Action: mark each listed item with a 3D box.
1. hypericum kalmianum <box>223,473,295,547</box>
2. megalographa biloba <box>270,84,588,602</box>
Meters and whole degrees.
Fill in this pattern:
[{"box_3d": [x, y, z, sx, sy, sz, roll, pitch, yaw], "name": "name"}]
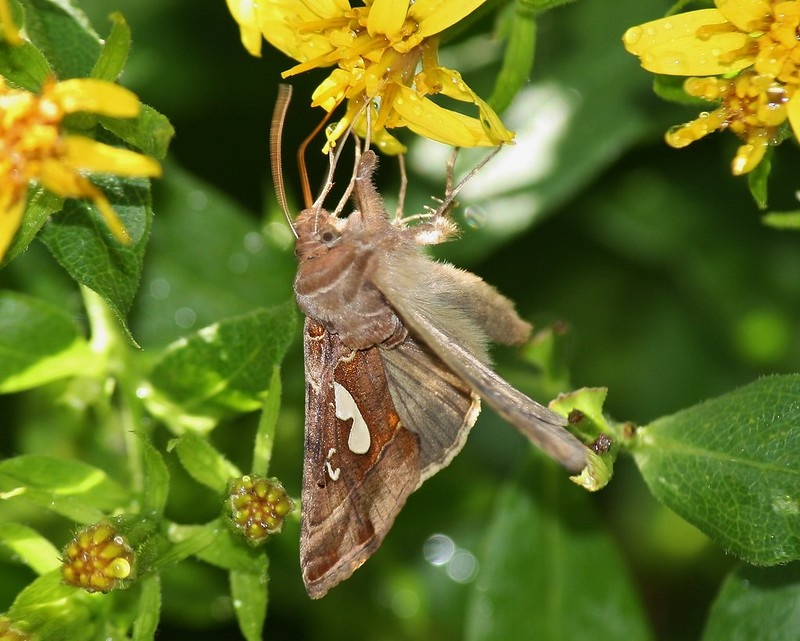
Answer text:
[{"box_3d": [-0.312, 0.413, 1.892, 0.143, 0.135, 0.087, -7, -34, -7], "name": "hypericum kalmianum"}, {"box_3d": [0.098, 0.157, 2.656, 0.889, 1.436, 1.817, -4, -80, -8], "name": "megalographa biloba"}]
